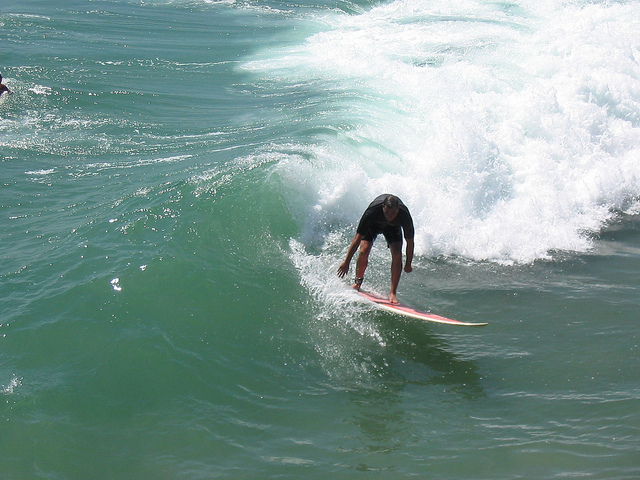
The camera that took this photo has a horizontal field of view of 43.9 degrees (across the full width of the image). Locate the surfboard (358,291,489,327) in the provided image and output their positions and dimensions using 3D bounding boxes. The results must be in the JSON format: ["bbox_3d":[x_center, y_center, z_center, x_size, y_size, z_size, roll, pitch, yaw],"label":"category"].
[{"bbox_3d":[1.903,1.468,16.950,2.333,0.312,0.627,12,20,18],"label":"surfboard"}]
